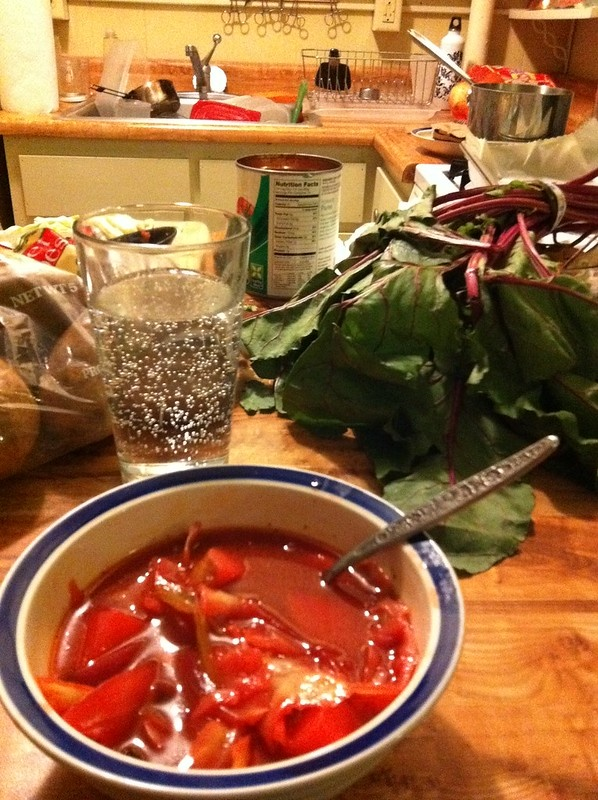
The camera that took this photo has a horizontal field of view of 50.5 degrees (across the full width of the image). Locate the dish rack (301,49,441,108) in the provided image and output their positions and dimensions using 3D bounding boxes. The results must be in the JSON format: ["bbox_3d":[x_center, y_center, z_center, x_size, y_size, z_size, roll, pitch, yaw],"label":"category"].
[{"bbox_3d":[0.292,-1.396,2.740,0.754,0.229,0.450,2,35,1],"label":"dish rack"}]

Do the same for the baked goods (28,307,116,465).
[{"bbox_3d":[-0.181,-0.008,0.535,0.082,0.062,0.103,16,55,-40],"label":"baked goods"}]

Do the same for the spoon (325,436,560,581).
[{"bbox_3d":[0.094,0.069,0.397,0.169,0.013,0.017,-28,41,0],"label":"spoon"}]
